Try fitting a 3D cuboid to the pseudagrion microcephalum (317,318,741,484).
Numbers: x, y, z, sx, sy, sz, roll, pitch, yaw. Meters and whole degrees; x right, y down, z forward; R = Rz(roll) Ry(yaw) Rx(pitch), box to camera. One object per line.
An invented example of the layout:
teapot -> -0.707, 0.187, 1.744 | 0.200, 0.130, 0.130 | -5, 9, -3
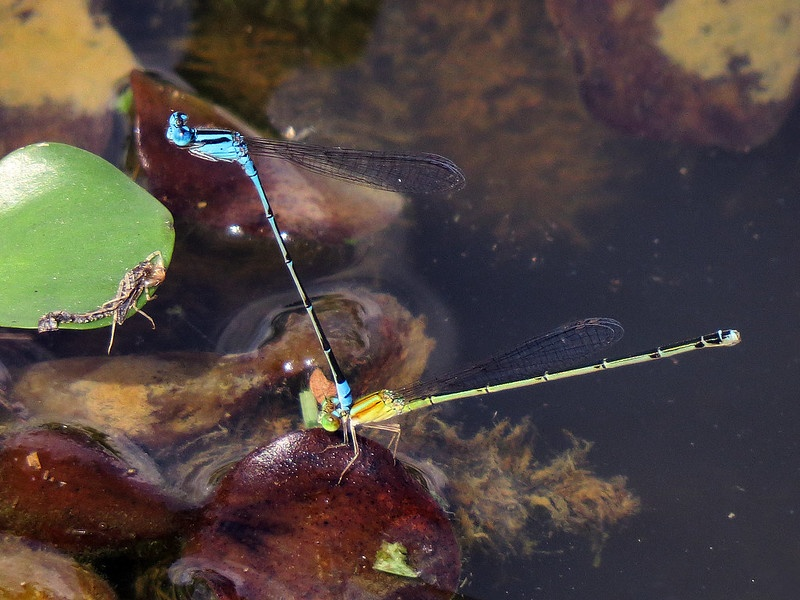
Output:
pseudagrion microcephalum -> 0.673, 0.568, 5.730 | 2.336, 0.976, 0.744 | -3, 68, 8
